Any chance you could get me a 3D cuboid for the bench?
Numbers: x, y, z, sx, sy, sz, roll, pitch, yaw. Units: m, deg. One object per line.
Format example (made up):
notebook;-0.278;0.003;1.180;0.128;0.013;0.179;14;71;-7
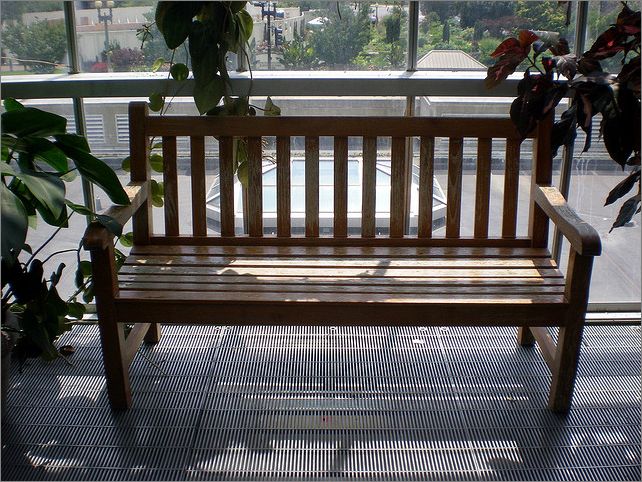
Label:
bench;0.071;0.089;2.287;1.309;0.848;0.504;1;27;1
